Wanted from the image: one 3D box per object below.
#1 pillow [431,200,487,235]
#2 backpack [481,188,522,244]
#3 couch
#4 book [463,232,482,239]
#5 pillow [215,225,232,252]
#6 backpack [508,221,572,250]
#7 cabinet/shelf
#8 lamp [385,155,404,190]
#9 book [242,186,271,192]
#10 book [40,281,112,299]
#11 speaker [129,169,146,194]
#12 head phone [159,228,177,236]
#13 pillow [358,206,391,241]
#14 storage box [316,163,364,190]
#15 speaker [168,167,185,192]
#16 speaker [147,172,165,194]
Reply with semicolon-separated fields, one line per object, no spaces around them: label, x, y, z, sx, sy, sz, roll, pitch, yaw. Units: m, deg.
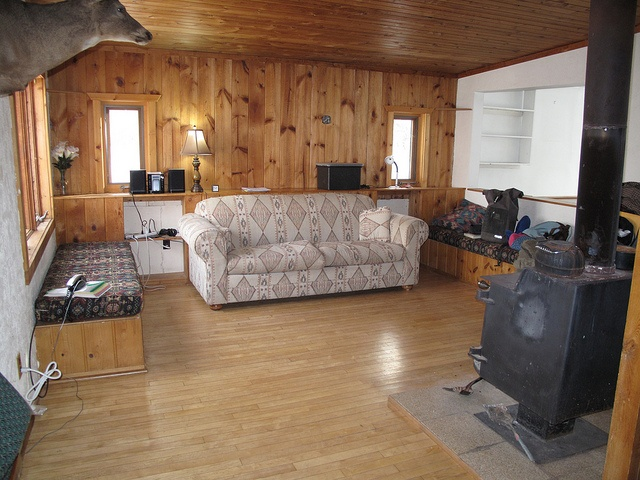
pillow;1.835;-0.284;6.080;0.452;0.126;0.458;22;49;38
backpack;2.108;-0.285;5.486;0.405;0.604;0.415;7;14;31
couch;-0.203;0.083;5.147;2.512;1.102;0.821;-5;13;-18
book;1.862;-0.046;5.710;0.219;0.057;0.121;7;15;34
pillow;-0.966;-0.016;4.768;0.150;0.252;0.559;-3;12;-11
backpack;2.329;-0.033;5.077;0.634;0.292;0.632;8;15;35
cabinet/shelf;2.796;-1.739;7.129;1.262;1.412;0.374;-3;7;-21
lamp;0.992;-0.937;6.415;0.194;0.428;0.433;1;12;8
book;-0.770;-0.608;5.726;0.338;0.038;0.352;-3;12;-9
book;-1.780;0.372;3.479;0.422;0.068;0.268;-4;12;-14
speaker;-2.034;-0.649;5.274;0.211;0.262;0.147;-9;15;-32
head phone;-1.760;-0.089;5.446;0.147;0.063;0.092;0;8;0
pillow;0.633;-0.169;5.408;0.365;0.417;0.165;2;-12;25
storage box;0.251;-0.795;5.937;0.552;0.342;0.337;-2;12;-4
speaker;-1.656;-0.674;5.381;0.205;0.267;0.137;-2;13;-6
speaker;-1.835;-0.632;5.247;0.221;0.269;0.214;-3;5;-36
